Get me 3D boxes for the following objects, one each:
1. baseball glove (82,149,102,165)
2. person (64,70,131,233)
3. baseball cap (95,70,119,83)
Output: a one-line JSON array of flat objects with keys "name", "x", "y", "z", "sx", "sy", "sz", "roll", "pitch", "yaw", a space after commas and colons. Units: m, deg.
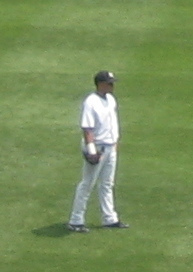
[{"name": "baseball glove", "x": -0.049, "y": 0.287, "z": 8.651, "sx": 0.263, "sy": 0.221, "sz": 0.240, "roll": -1, "pitch": 13, "yaw": -1}, {"name": "person", "x": 0.062, "y": 0.235, "z": 8.794, "sx": 0.922, "sy": 2.224, "sz": 0.537, "roll": -11, "pitch": 16, "yaw": -37}, {"name": "baseball cap", "x": 0.153, "y": -0.813, "z": 8.735, "sx": 0.248, "sy": 0.117, "sz": 0.156, "roll": 6, "pitch": 13, "yaw": 17}]
